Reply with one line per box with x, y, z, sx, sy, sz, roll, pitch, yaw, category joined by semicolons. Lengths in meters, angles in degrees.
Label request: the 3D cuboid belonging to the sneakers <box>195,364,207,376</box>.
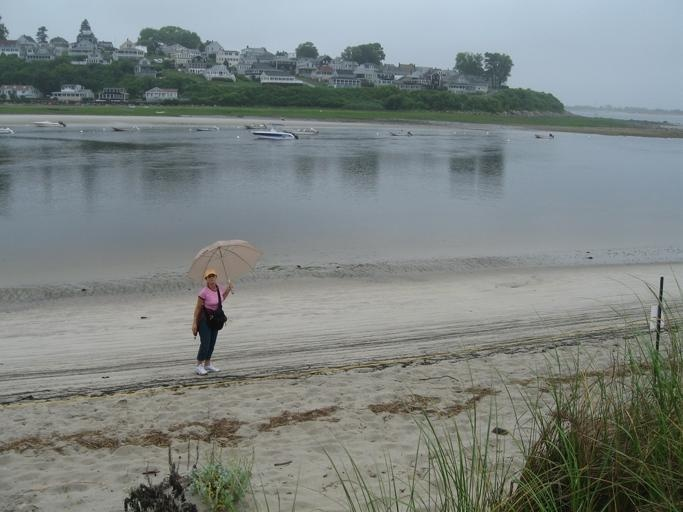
-2.179;1.777;12.112;0.093;0.110;0.223;-9;6;-34;sneakers

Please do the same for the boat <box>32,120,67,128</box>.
-30.844;-13.931;82.360;3.009;0.664;5.423;-3;10;-24;boat

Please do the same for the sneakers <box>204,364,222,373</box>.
-2.025;1.769;12.244;0.243;0.107;0.090;1;16;-4;sneakers

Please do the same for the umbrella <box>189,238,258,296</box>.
-2.020;0.033;13.107;1.206;0.447;1.202;-27;28;-34;umbrella
